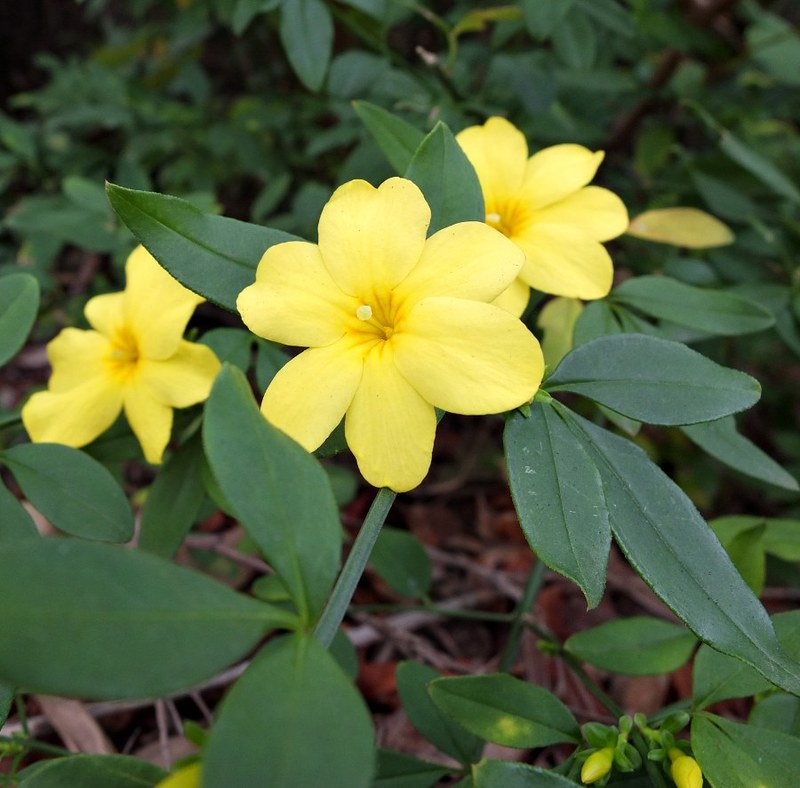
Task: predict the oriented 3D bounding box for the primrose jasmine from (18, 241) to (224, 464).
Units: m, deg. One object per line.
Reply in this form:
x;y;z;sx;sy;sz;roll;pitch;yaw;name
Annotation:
-0.329;-0.037;0.977;0.312;0.107;0.267;-14;72;18;primrose jasmine

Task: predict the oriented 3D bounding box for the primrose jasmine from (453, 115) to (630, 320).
0.185;-0.225;1.022;0.269;0.089;0.221;-19;67;9;primrose jasmine

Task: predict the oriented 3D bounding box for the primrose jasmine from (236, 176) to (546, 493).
-0.013;-0.066;0.834;0.303;0.087;0.295;39;83;6;primrose jasmine
